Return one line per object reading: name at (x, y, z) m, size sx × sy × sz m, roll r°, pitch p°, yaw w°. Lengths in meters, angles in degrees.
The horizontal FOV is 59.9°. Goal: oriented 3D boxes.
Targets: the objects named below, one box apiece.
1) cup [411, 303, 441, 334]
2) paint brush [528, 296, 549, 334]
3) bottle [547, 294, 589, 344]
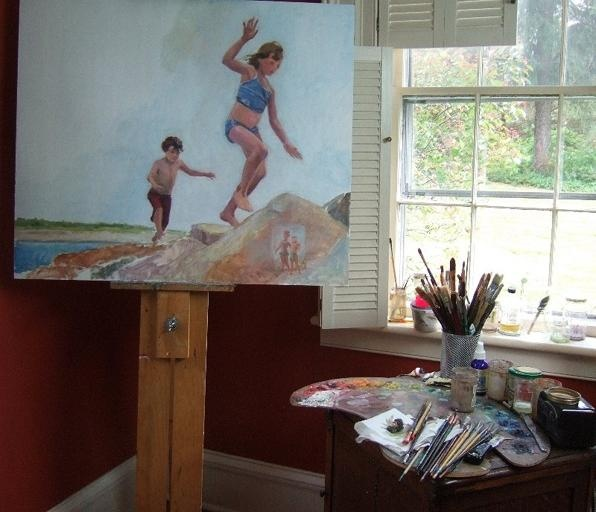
cup at (0.525, 0.248, 2.117) m, size 0.098 × 0.090 × 0.102 m, roll -2°, pitch 5°, yaw 0°
paint brush at (0.976, 0.226, 2.090) m, size 0.069 × 0.178 × 0.134 m, roll 5°, pitch 14°, yaw 29°
bottle at (1.068, 0.246, 2.031) m, size 0.138 × 0.155 × 0.180 m, roll 6°, pitch 15°, yaw 29°
